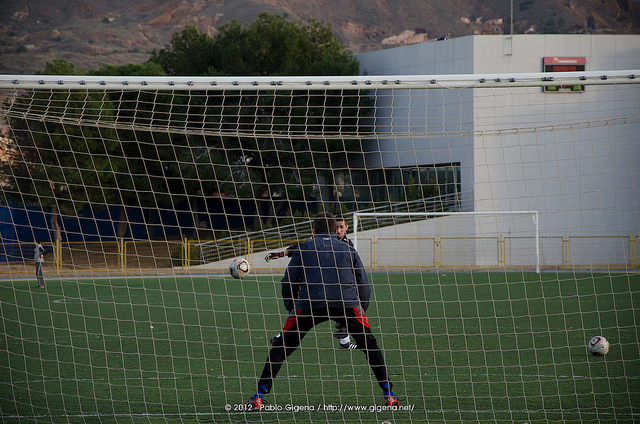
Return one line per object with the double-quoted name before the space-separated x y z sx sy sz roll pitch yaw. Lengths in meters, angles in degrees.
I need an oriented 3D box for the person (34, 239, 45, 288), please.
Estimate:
"person" -15.489 2.778 69.006 0.507 2.715 1.510 0 -5 -13
